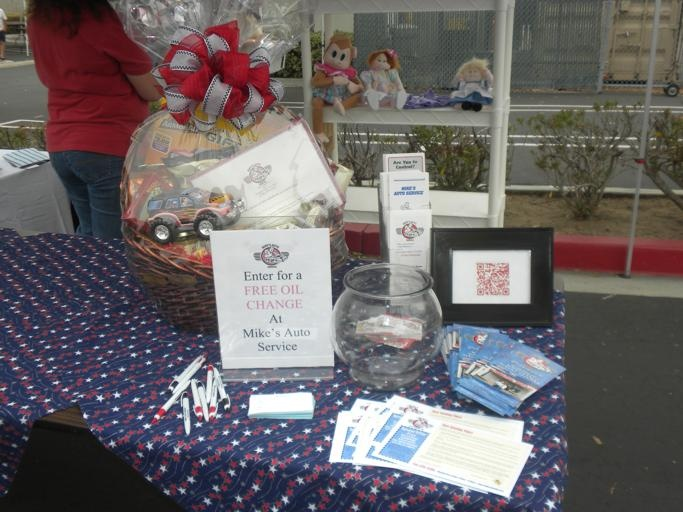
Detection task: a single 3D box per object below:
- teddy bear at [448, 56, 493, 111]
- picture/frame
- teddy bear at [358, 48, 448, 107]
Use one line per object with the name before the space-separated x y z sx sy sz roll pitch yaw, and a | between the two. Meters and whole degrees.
teddy bear | 0.817 -1.076 3.516 0.254 0.277 0.501 3 22 10
picture/frame | 0.384 0.005 1.462 0.362 0.228 0.225 1 20 5
teddy bear | 0.375 -1.175 3.732 0.527 0.346 0.824 -6 23 -13
